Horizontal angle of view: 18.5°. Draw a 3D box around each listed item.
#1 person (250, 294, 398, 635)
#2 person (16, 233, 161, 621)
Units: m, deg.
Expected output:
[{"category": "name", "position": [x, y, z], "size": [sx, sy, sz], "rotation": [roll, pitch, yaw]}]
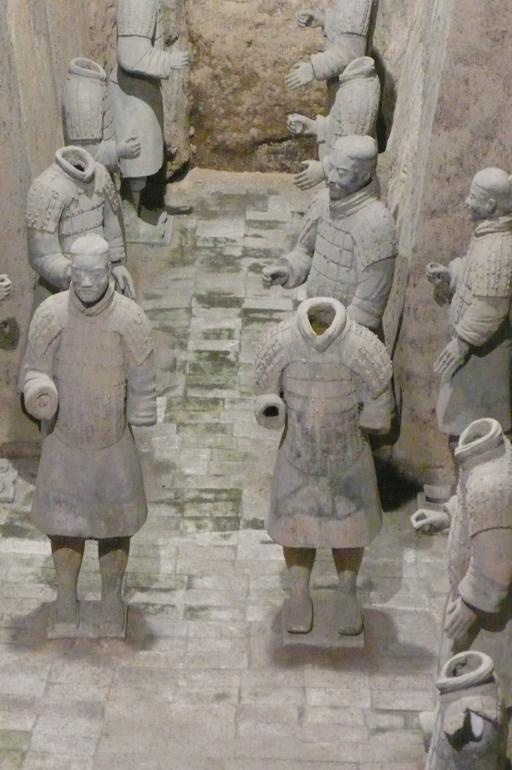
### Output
[{"category": "person", "position": [0.321, 0.417, 7.855], "size": [0.544, 1.725, 0.406], "rotation": [0, 23, 2]}, {"category": "person", "position": [-0.825, 0.281, 7.718], "size": [0.650, 2.054, 0.299], "rotation": [-3, 22, -11]}]
